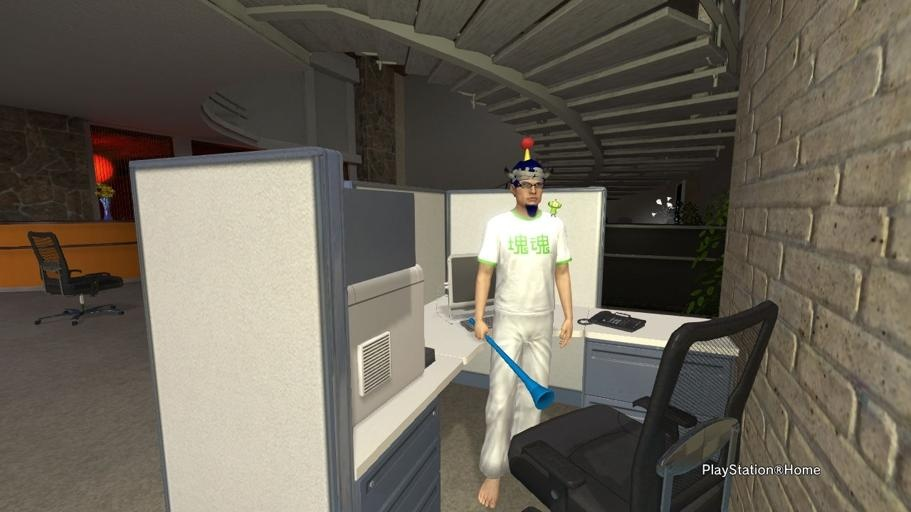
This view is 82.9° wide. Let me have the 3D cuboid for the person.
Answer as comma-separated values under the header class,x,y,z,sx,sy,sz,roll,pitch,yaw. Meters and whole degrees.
class,x,y,z,sx,sy,sz,roll,pitch,yaw
person,0.548,0.588,4.416,0.893,2.946,0.487,-4,11,-30
